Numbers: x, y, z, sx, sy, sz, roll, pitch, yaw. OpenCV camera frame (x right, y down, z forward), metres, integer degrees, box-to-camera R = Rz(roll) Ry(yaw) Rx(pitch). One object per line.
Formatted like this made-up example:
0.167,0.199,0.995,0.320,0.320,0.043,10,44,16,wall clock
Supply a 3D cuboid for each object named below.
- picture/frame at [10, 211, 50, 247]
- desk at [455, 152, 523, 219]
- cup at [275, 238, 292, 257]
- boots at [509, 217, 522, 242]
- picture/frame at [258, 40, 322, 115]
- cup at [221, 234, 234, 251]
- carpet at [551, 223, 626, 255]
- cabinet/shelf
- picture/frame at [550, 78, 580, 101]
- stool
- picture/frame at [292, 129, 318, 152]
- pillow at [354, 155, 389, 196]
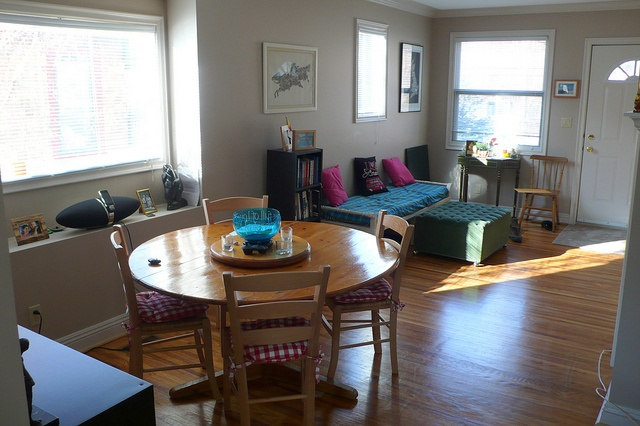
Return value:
-2.264,0.131,3.577,0.235,0.225,0.019,-17,-1,-42,picture/frame
2.640,-0.437,7.082,0.924,0.918,0.405,10,17,43,desk
-0.250,0.244,3.171,0.116,0.084,0.088,1,9,-4,cup
2.796,0.249,6.490,0.150,0.203,0.484,-1,13,14,boots
-0.369,-1.531,5.171,0.035,0.758,0.929,16,22,39,picture/frame
-0.646,0.216,3.251,0.081,0.117,0.118,4,7,21,cup
3.718,0.363,6.324,0.691,0.010,0.793,8,25,31,carpet
-0.265,-0.267,5.099,0.667,0.882,0.413,-6,16,-11,cabinet/shelf
3.659,-1.837,6.839,0.342,0.292,0.023,11,11,39,picture/frame
1.776,0.231,5.891,1.038,0.560,0.923,6,18,29,stool
-0.181,-0.797,5.089,0.099,0.226,0.317,7,12,44,picture/frame
0.695,-0.530,6.477,0.534,0.498,0.281,-11,24,-44,pillow
